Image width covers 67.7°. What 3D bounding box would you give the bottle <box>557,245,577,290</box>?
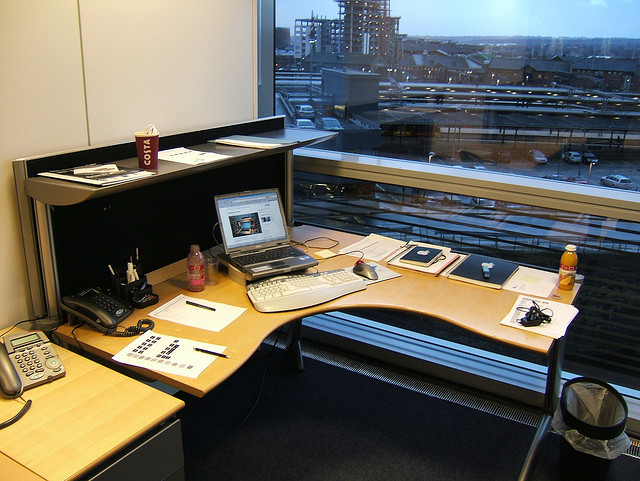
[{"bbox_3d":[1.252,0.132,2.399,0.074,0.217,0.121,8,27,25],"label":"bottle"}]

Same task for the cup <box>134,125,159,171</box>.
[{"bbox_3d":[-0.767,-0.406,2.089,0.113,0.181,0.167,-11,24,-15],"label":"cup"}]

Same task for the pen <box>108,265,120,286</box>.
[{"bbox_3d":[-0.942,0.154,2.169,0.021,0.098,0.012,-16,27,23],"label":"pen"}]

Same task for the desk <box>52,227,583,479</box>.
[{"bbox_3d":[0.029,0.320,2.299,1.917,0.777,1.434,14,33,26],"label":"desk"}]

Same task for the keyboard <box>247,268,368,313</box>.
[{"bbox_3d":[-0.084,0.235,2.406,0.593,0.068,0.332,-12,21,-25],"label":"keyboard"}]

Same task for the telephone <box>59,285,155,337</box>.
[{"bbox_3d":[-0.941,0.308,2.095,0.416,0.099,0.275,17,16,24],"label":"telephone"}]

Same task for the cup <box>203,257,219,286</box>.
[{"bbox_3d":[-0.580,0.144,2.490,0.081,0.148,0.151,-8,23,-9],"label":"cup"}]

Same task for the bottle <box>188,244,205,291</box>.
[{"bbox_3d":[-0.635,0.138,2.385,0.101,0.229,0.104,-4,25,2],"label":"bottle"}]

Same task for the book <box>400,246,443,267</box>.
[{"bbox_3d":[0.577,0.088,2.718,0.167,0.025,0.241,10,23,32],"label":"book"}]

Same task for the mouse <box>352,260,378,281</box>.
[{"bbox_3d":[0.231,0.159,2.538,0.132,0.048,0.078,23,36,38],"label":"mouse"}]

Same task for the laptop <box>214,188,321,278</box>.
[{"bbox_3d":[-0.328,-0.054,2.569,0.409,0.384,0.460,-13,24,-21],"label":"laptop"}]

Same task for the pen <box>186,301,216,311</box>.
[{"bbox_3d":[-0.576,0.312,2.258,0.141,0.011,0.010,11,67,12],"label":"pen"}]

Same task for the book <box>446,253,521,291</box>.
[{"bbox_3d":[0.886,0.159,2.596,0.306,0.058,0.350,11,23,34],"label":"book"}]

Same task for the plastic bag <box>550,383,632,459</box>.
[{"bbox_3d":[1.358,0.945,2.498,0.422,0.319,0.382,7,32,25],"label":"plastic bag"}]
